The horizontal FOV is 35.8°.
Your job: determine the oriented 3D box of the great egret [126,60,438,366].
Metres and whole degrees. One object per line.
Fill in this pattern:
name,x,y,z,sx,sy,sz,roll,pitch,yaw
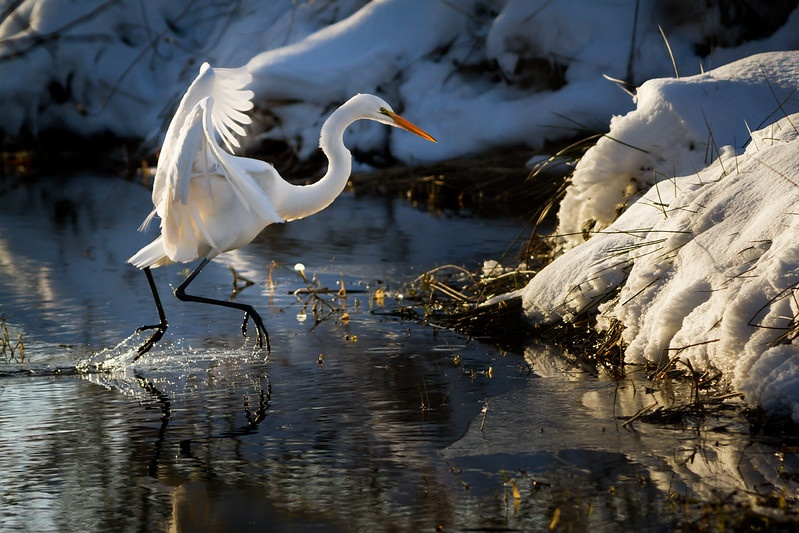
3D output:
great egret,-1.461,-0.790,11.009,3.131,1.830,3.048,-5,21,-3
